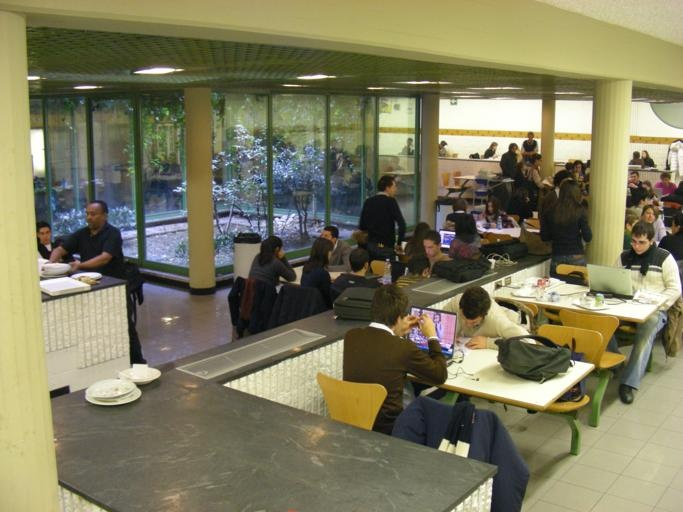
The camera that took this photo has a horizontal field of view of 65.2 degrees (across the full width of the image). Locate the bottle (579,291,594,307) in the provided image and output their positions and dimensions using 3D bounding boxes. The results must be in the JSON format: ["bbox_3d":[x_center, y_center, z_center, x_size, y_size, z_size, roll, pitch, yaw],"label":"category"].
[{"bbox_3d":[2.658,0.470,5.803,0.135,0.052,0.153,4,18,42],"label":"bottle"}]

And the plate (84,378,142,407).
[{"bbox_3d":[-1.416,0.849,3.328,0.301,0.086,0.305,-9,17,-36],"label":"plate"}]

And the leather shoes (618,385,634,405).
[{"bbox_3d":[3.037,1.484,5.706,0.116,0.148,0.230,-6,11,20],"label":"leather shoes"}]

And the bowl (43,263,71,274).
[{"bbox_3d":[-3.169,0.140,5.940,0.284,0.102,0.192,-7,15,-28],"label":"bowl"}]

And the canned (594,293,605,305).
[{"bbox_3d":[2.777,0.471,5.759,0.105,0.160,0.099,-3,4,-15],"label":"canned"}]

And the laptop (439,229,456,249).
[{"bbox_3d":[1.777,-0.293,8.936,0.340,0.321,0.256,8,16,33],"label":"laptop"}]

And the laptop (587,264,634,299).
[{"bbox_3d":[3.060,0.261,6.064,0.403,0.385,0.478,-14,16,-43],"label":"laptop"}]

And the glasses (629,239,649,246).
[{"bbox_3d":[3.404,-0.138,6.098,0.114,0.088,0.096,-4,5,-39],"label":"glasses"}]

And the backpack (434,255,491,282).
[{"bbox_3d":[1.361,0.143,5.959,0.384,0.128,0.372,-15,17,-38],"label":"backpack"}]

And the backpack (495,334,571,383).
[{"bbox_3d":[1.513,0.812,4.212,0.374,0.193,0.456,1,10,-34],"label":"backpack"}]

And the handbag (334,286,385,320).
[{"bbox_3d":[0.103,0.431,4.701,0.348,0.239,0.333,1,14,4],"label":"handbag"}]

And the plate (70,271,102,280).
[{"bbox_3d":[-2.761,0.216,5.802,0.379,0.035,0.187,6,14,22],"label":"plate"}]

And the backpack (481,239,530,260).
[{"bbox_3d":[2.083,-0.075,7.006,0.399,0.124,0.312,-8,11,-39],"label":"backpack"}]

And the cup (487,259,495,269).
[{"bbox_3d":[1.799,0.099,6.423,0.084,0.112,0.084,-2,19,1],"label":"cup"}]
